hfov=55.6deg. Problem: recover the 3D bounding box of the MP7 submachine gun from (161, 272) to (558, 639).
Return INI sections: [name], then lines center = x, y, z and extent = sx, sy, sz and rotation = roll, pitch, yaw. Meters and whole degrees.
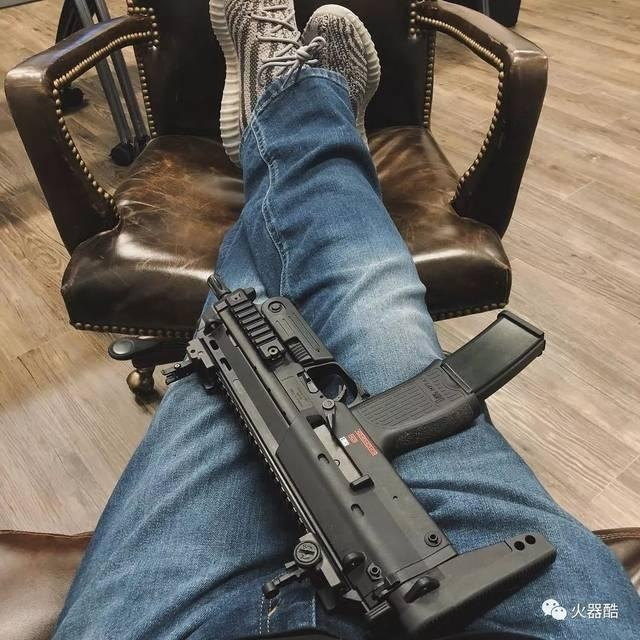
[MP7 submachine gun]
center = 0.017, 0.080, 0.547
extent = 0.365, 0.125, 0.356
rotation = 11, 54, 9
